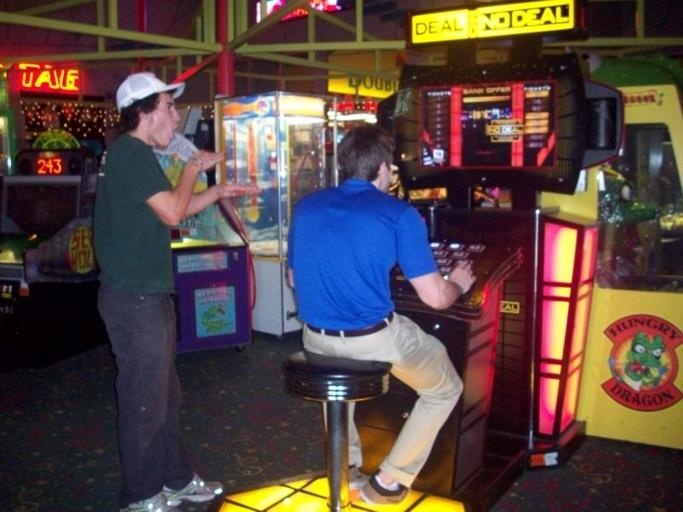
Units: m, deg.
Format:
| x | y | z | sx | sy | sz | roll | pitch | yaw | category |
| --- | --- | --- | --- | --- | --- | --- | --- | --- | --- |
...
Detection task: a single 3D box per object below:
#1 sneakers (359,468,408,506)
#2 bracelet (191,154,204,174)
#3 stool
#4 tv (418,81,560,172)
| x | y | z | sx | sy | sz | roll | pitch | yaw | category |
| --- | --- | --- | --- | --- | --- | --- | --- | --- | --- |
| 0.214 | 1.212 | 3.078 | 0.241 | 0.117 | 0.125 | -7 | 10 | -40 | sneakers |
| -0.753 | -0.494 | 3.098 | 0.070 | 0.101 | 0.033 | -16 | -28 | 16 | bracelet |
| -0.033 | 0.798 | 3.120 | 0.594 | 1.030 | 0.612 | 1 | 2 | -2 | stool |
| 0.886 | -0.818 | 3.641 | 0.792 | 0.525 | 0.073 | 3 | 29 | 22 | tv |
